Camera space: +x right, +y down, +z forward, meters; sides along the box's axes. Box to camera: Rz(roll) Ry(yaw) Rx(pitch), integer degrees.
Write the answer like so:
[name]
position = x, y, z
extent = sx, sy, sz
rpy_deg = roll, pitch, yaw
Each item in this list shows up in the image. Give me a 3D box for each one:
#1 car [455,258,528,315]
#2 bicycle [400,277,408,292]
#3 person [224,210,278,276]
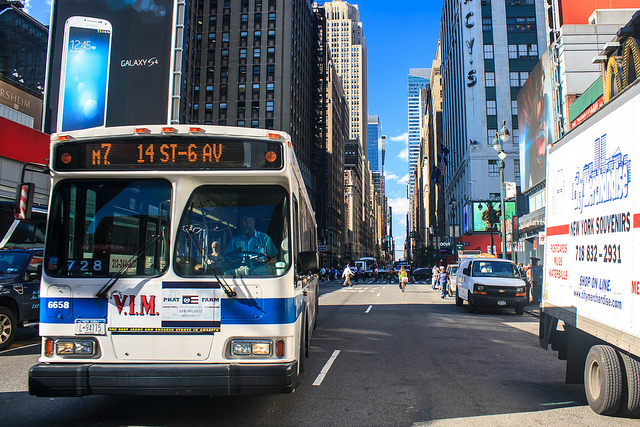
[car]
position = 6.945, 2.890, 22.990
extent = 2.038, 2.037, 2.055
rpy_deg = 1, 1, 1
[bicycle]
position = 5.431, 4.540, 37.444
extent = 0.288, 0.926, 0.955
rpy_deg = 1, 1, 9
[person]
position = -1.275, 0.529, 10.401
extent = 0.874, 1.363, 0.916
rpy_deg = -3, -25, -7
